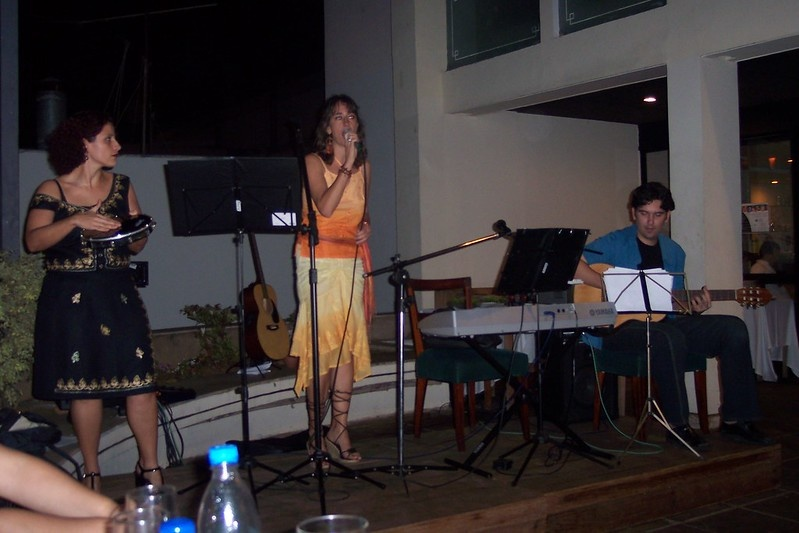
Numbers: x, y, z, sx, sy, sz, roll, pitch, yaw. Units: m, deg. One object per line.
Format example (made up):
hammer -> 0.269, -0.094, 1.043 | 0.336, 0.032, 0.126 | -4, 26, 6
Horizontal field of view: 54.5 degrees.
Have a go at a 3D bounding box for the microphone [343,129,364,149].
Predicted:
microphone -> -0.295, -0.802, 4.953 | 0.117, 0.110, 0.196 | -4, 1, -1

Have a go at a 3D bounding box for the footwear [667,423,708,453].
footwear -> 2.109, 1.234, 5.610 | 0.288, 0.124, 0.127 | -4, 6, 44

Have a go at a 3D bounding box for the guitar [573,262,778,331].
guitar -> 2.048, 0.201, 5.908 | 1.496, 0.595, 0.206 | 1, -10, -4

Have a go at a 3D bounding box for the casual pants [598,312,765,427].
casual pants -> 2.080, 0.858, 5.876 | 0.939, 0.828, 0.914 | 6, -13, -36

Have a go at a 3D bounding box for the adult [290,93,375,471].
adult -> -0.467, 0.094, 5.210 | 0.624, 2.262, 0.587 | -4, 1, -2

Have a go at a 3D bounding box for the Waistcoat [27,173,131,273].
Waistcoat -> -1.944, -0.260, 4.731 | 0.584, 0.535, 0.313 | -4, 7, -37

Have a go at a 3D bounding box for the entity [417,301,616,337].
entity -> 0.839, 0.368, 5.296 | 1.398, 0.189, 0.272 | -4, 1, -19

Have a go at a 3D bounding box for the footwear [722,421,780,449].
footwear -> 2.611, 1.249, 5.737 | 0.137, 0.159, 0.399 | 4, -5, -36

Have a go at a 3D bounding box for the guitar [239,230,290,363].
guitar -> -1.290, 0.304, 7.400 | 0.403, 1.163, 0.710 | -4, 1, -8

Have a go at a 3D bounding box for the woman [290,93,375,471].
woman -> -0.467, 0.094, 5.213 | 0.627, 2.262, 0.575 | -4, 1, -3
